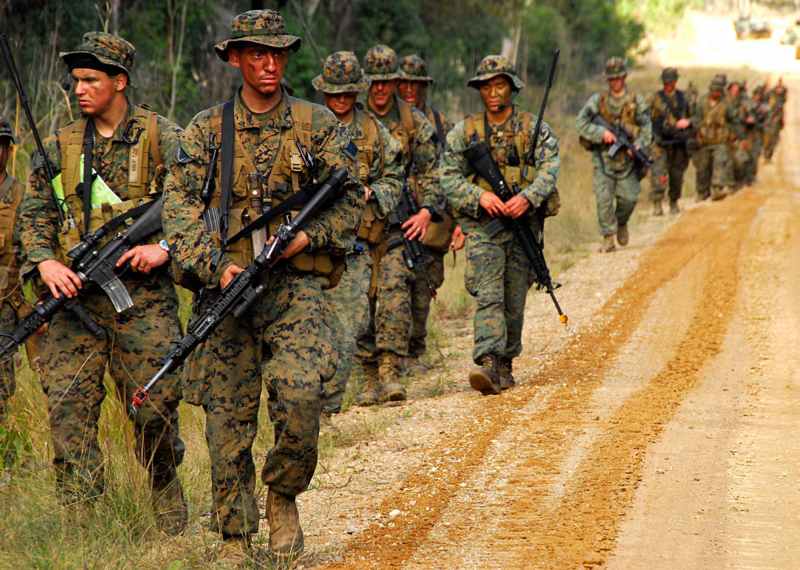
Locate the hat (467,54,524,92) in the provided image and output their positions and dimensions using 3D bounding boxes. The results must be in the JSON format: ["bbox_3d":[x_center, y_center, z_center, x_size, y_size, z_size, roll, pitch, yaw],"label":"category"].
[{"bbox_3d":[1.040,-2.045,11.415,0.617,0.381,0.566,-9,4,-20],"label":"hat"}]

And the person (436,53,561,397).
[{"bbox_3d":[0.965,-0.557,11.405,1.113,3.178,1.032,-3,13,0],"label":"person"}]

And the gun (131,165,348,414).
[{"bbox_3d":[-1.140,0.038,8.615,0.221,1.812,0.530,34,-9,3],"label":"gun"}]

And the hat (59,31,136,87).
[{"bbox_3d":[-2.316,-1.774,9.218,0.552,0.335,0.539,3,-8,-16],"label":"hat"}]

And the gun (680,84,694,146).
[{"bbox_3d":[4.867,-2.842,20.178,0.221,1.160,0.299,2,3,13],"label":"gun"}]

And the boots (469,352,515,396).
[{"bbox_3d":[0.894,0.868,11.376,0.271,0.414,0.703,4,17,26],"label":"boots"}]

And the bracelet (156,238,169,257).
[{"bbox_3d":[-1.751,-0.286,8.878,0.032,0.152,0.130,5,4,37],"label":"bracelet"}]

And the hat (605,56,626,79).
[{"bbox_3d":[3.069,-3.077,16.897,0.287,0.292,0.360,0,15,12],"label":"hat"}]

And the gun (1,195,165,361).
[{"bbox_3d":[-2.359,-0.057,9.051,0.565,1.558,0.191,42,-1,2],"label":"gun"}]

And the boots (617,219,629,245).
[{"bbox_3d":[3.228,-0.724,17.207,0.108,0.440,0.174,0,-18,15],"label":"boots"}]

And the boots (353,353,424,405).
[{"bbox_3d":[-0.071,0.995,11.946,0.286,0.700,0.856,6,-20,-28],"label":"boots"}]

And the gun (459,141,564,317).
[{"bbox_3d":[1.228,-0.317,11.557,0.220,1.900,0.449,27,-58,-39],"label":"gun"}]

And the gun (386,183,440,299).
[{"bbox_3d":[0.113,-0.485,11.831,0.400,1.126,0.210,-20,-5,16],"label":"gun"}]

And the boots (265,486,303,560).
[{"bbox_3d":[-0.822,1.711,8.488,0.247,0.510,0.271,-5,14,-8],"label":"boots"}]

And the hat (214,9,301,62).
[{"bbox_3d":[-1.063,-1.815,8.659,0.388,0.209,0.411,-7,3,-35],"label":"hat"}]

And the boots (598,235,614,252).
[{"bbox_3d":[2.977,-0.608,17.063,0.246,0.250,0.321,2,16,19],"label":"boots"}]
